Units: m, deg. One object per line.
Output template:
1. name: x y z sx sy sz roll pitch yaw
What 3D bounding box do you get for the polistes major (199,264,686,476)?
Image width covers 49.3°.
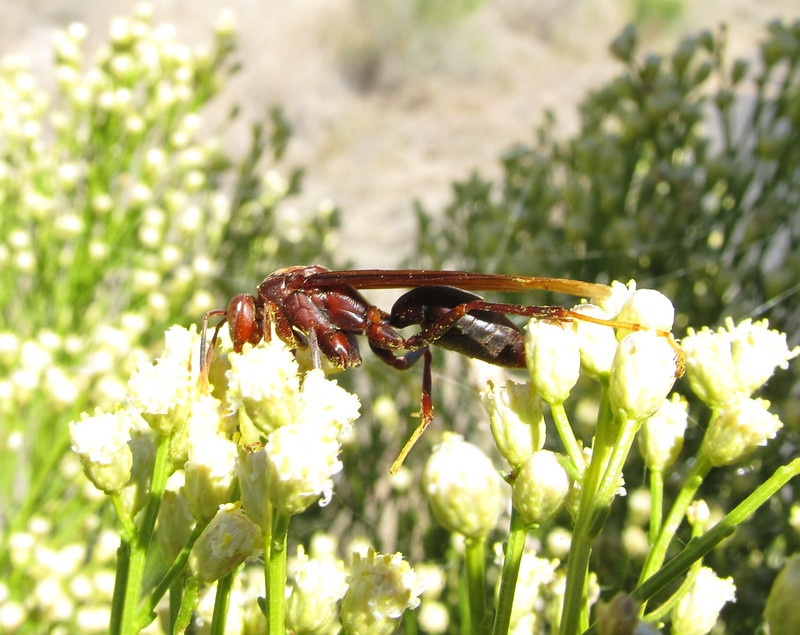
1. polistes major: 0.022 0.024 1.408 0.490 0.209 0.412 -1 6 -1
